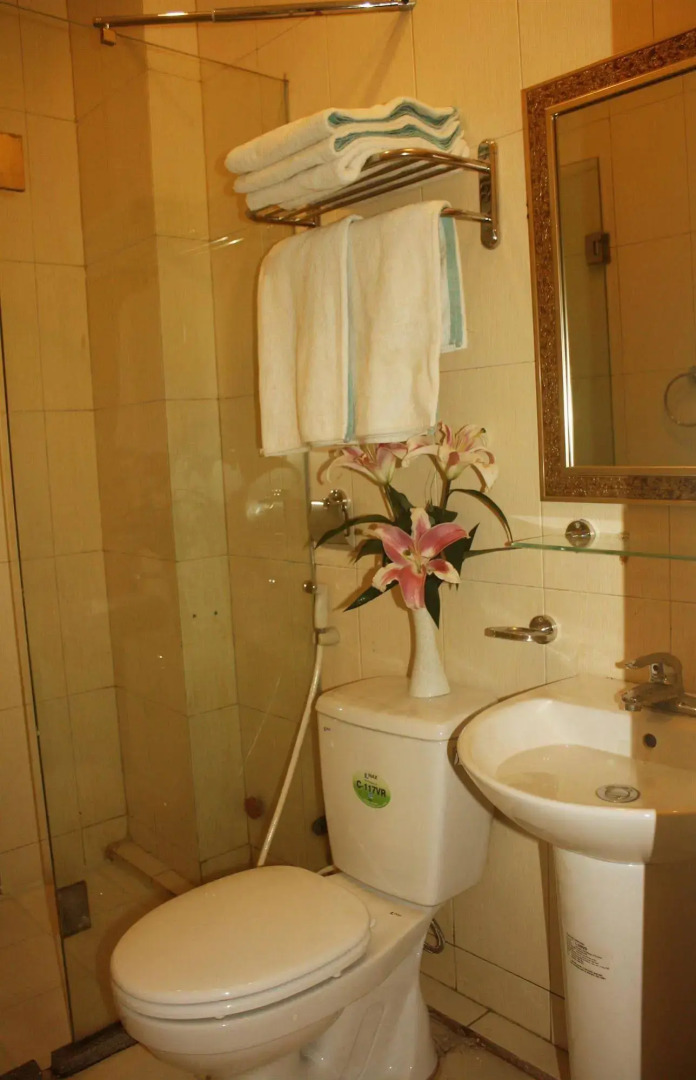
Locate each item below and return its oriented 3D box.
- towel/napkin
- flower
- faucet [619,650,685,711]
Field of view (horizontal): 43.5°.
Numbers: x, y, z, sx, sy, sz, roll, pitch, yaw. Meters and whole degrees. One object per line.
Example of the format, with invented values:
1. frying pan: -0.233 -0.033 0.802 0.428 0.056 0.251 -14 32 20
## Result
1. towel/napkin: -0.004 -0.439 1.559 0.314 0.553 0.490 -12 11 -38
2. flower: 0.117 0.011 1.595 0.324 0.457 0.339 4 19 14
3. faucet: 0.444 0.193 1.285 0.055 0.092 0.135 3 10 34
